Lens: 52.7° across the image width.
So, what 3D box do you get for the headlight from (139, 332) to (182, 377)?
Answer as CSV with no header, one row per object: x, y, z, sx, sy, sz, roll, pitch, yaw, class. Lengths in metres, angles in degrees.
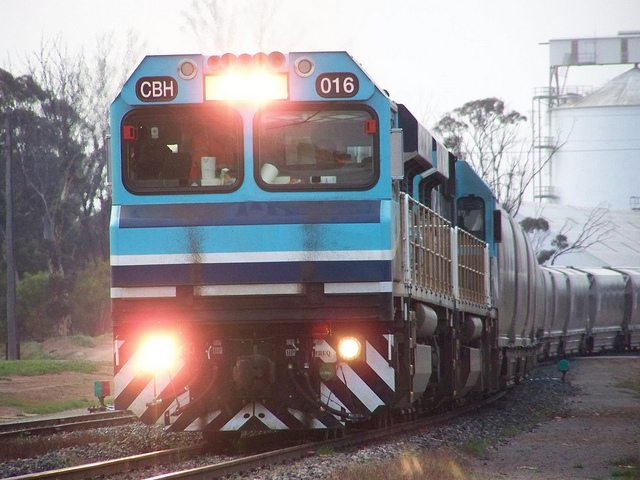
-2.153,1.499,8.443,0.469,0.613,0.124,-10,9,-10,headlight
